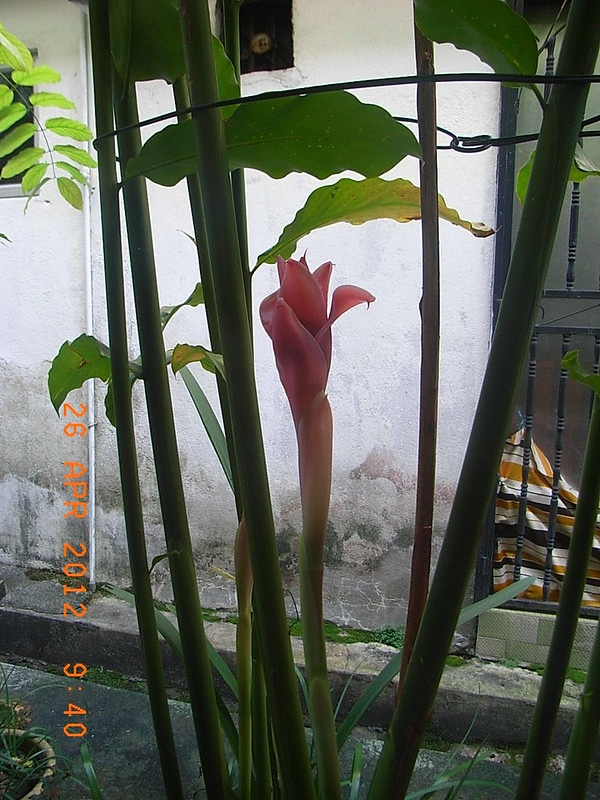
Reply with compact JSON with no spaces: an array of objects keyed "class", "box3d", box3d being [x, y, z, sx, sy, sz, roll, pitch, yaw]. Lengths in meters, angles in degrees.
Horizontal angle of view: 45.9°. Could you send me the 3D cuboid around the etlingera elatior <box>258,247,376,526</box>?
[{"class":"etlingera elatior","box3d":[0.010,-0.021,0.623,0.095,0.210,0.178,4,9,7]}]
